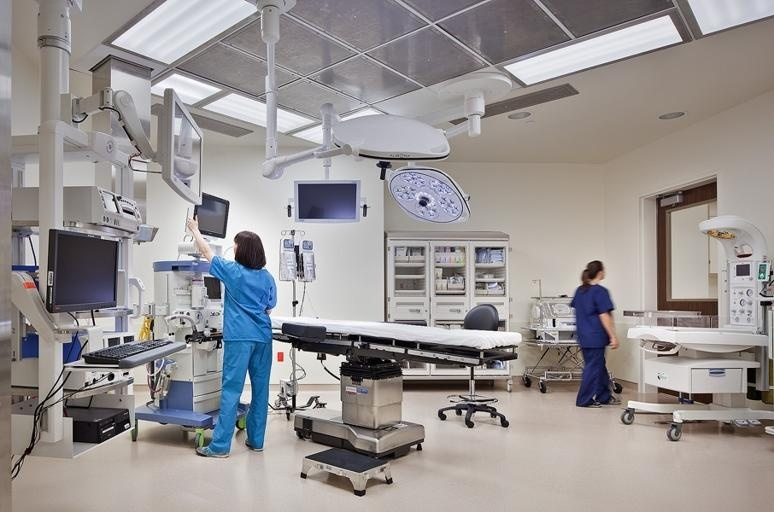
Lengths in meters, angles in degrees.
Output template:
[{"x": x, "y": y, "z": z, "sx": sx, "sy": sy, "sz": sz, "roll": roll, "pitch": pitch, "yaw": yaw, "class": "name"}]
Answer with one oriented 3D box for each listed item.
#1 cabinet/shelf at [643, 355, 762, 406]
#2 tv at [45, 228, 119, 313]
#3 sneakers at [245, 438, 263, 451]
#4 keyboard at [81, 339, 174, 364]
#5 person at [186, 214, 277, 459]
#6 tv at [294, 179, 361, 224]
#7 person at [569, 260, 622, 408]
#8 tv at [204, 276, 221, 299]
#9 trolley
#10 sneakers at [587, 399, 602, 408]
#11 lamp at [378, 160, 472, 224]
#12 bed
[{"x": 3.245, "y": 1.246, "z": 6.405, "sx": 0.657, "sy": 0.280, "sz": 0.700, "roll": 1, "pitch": -3, "yaw": -5, "class": "cabinet/shelf"}, {"x": -2.154, "y": 0.107, "z": 4.183, "sx": 0.071, "sy": 0.522, "sz": 0.661, "roll": 1, "pitch": -2, "yaw": 19, "class": "tv"}, {"x": -1.283, "y": 1.839, "z": 5.823, "sx": 0.079, "sy": 0.089, "sz": 0.203, "roll": 0, "pitch": 5, "yaw": -27, "class": "sneakers"}, {"x": -1.888, "y": 0.697, "z": 4.352, "sx": 0.361, "sy": 0.081, "sz": 0.609, "roll": 1, "pitch": 2, "yaw": 14, "class": "keyboard"}, {"x": -1.436, "y": 0.821, "z": 5.673, "sx": 0.668, "sy": 2.105, "sz": 0.353, "roll": -1, "pitch": 4, "yaw": -17, "class": "person"}, {"x": -0.688, "y": -0.632, "z": 6.803, "sx": 0.750, "sy": 0.468, "sz": 0.106, "roll": 1, "pitch": 3, "yaw": 7, "class": "tv"}, {"x": 2.614, "y": 1.114, "z": 7.480, "sx": 0.536, "sy": 1.501, "sz": 0.467, "roll": 1, "pitch": 4, "yaw": 17, "class": "person"}, {"x": -1.861, "y": 0.333, "z": 6.350, "sx": 0.011, "sy": 0.173, "sz": 0.259, "roll": -12, "pitch": -10, "yaw": 17, "class": "tv"}, {"x": 2.906, "y": 1.264, "z": 8.920, "sx": 1.597, "sy": 1.506, "sz": 1.116, "roll": 1, "pitch": -5, "yaw": 1, "class": "trolley"}, {"x": 2.604, "y": 1.830, "z": 7.389, "sx": 0.135, "sy": 0.061, "sz": 0.226, "roll": 2, "pitch": 3, "yaw": 38, "class": "sneakers"}, {"x": 0.371, "y": -0.567, "z": 5.578, "sx": 0.689, "sy": 0.156, "sz": 0.565, "roll": 22, "pitch": -34, "yaw": 8, "class": "lamp"}, {"x": -0.057, "y": 1.329, "z": 6.050, "sx": 2.631, "sy": 1.182, "sz": 1.190, "roll": -1, "pitch": -5, "yaw": 25, "class": "bed"}]
